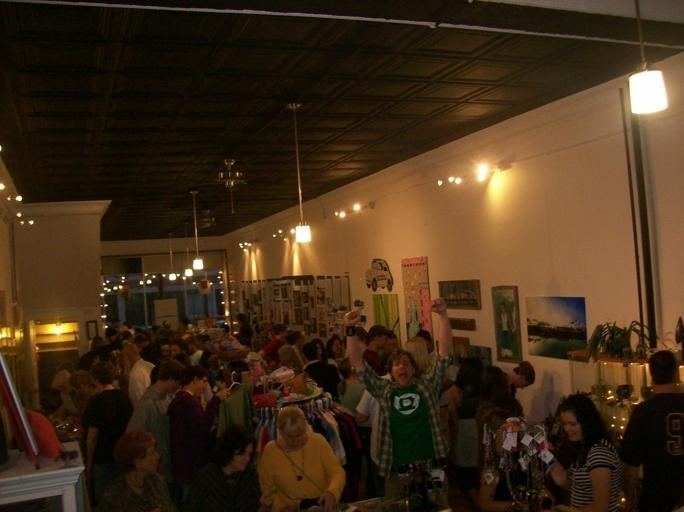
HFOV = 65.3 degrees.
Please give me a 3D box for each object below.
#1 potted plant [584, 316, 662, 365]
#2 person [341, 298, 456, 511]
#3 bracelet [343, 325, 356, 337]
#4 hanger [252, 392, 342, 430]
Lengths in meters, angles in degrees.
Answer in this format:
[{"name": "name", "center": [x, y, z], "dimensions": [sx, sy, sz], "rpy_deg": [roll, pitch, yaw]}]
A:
[{"name": "potted plant", "center": [2.575, 0.739, 4.877], "dimensions": [0.391, 0.275, 0.533], "rpy_deg": [-2, -4, 40]}, {"name": "person", "center": [0.480, 1.072, 4.035], "dimensions": [0.759, 1.451, 0.989], "rpy_deg": [-6, -4, 12]}, {"name": "bracelet", "center": [0.049, 0.551, 3.921], "dimensions": [0.072, 0.074, 0.073], "rpy_deg": [4, -7, -37]}, {"name": "hanger", "center": [-0.435, 1.442, 5.138], "dimensions": [0.691, 0.262, 0.523], "rpy_deg": [3, -7, -20]}]
